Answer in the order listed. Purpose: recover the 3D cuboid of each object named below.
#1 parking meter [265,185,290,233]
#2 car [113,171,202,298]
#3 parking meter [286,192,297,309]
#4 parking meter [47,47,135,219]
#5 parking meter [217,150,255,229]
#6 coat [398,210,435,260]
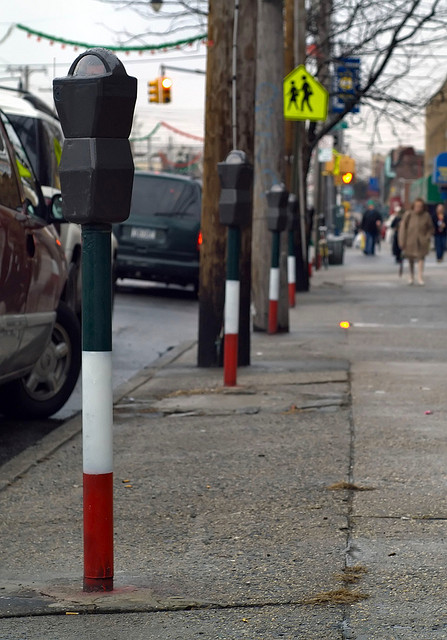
[{"bbox_3d":[0.491,-1.024,11.134,0.205,0.448,0.587,-1,5,1],"label":"parking meter"},{"bbox_3d":[-0.911,-1.290,17.175,1.007,1.181,2.068,3,8,9],"label":"car"},{"bbox_3d":[0.862,-0.851,15.323,0.181,1.412,0.191,-6,-14,31],"label":"parking meter"},{"bbox_3d":[-0.408,-0.591,3.794,0.254,0.550,0.195,2,5,41],"label":"parking meter"},{"bbox_3d":[0.086,-0.846,7.739,0.234,0.475,0.230,-2,4,-10],"label":"parking meter"},{"bbox_3d":[2.963,-1.322,18.593,0.528,0.742,0.592,-1,4,9],"label":"coat"}]
